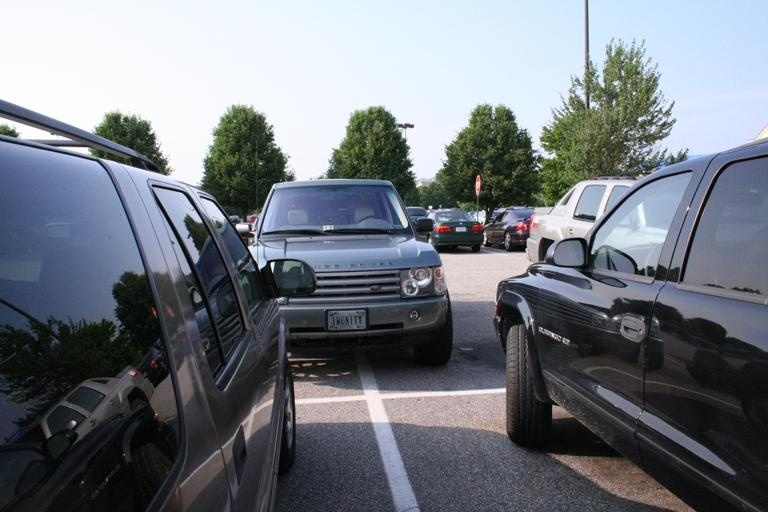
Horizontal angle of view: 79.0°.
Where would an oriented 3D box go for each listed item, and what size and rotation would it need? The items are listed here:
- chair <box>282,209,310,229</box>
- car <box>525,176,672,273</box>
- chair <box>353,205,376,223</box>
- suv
[{"bbox_3d":[-1.096,-0.467,5.821,0.320,0.314,0.200,-1,-15,0],"label":"chair"},{"bbox_3d":[3.812,-0.558,9.311,1.640,1.648,2.968,-4,1,-37],"label":"car"},{"bbox_3d":[-0.255,-0.524,5.922,0.297,0.287,0.183,1,-3,-4],"label":"chair"},{"bbox_3d":[-0.350,-0.011,5.738,1.572,1.480,2.895,-1,-2,-2],"label":"suv"}]
